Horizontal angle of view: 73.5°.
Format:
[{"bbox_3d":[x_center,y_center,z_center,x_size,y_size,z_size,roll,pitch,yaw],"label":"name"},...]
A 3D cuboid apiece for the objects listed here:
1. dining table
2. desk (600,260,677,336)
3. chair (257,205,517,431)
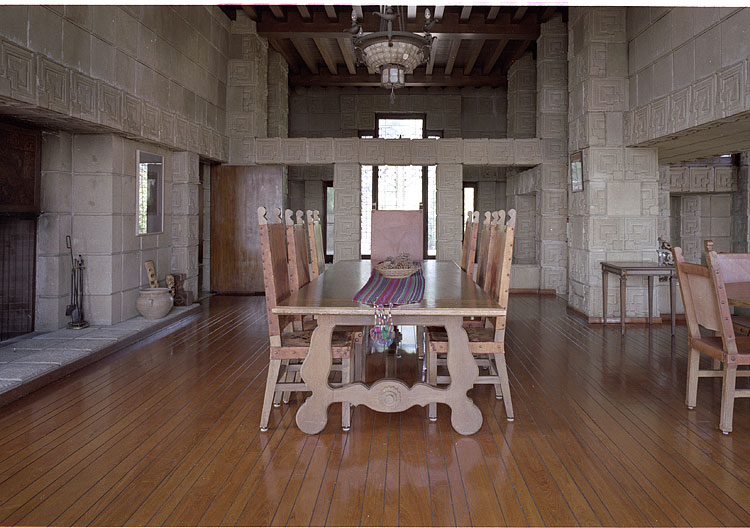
[{"bbox_3d":[0.155,0.661,4.299,1.555,1.040,1.547,1,10,4],"label":"dining table"},{"bbox_3d":[3.531,0.454,6.783,0.800,0.800,0.752,-1,2,-5],"label":"desk"},{"bbox_3d":[0.176,0.391,4.689,1.422,1.257,2.430,-1,0,2],"label":"chair"}]
